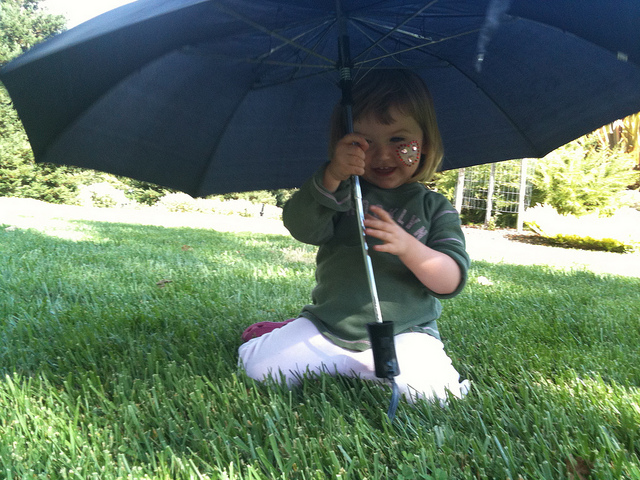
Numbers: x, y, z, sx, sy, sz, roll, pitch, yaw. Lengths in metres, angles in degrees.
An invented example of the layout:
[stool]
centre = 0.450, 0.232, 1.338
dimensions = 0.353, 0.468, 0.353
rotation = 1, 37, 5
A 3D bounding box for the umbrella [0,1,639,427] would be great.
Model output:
[umbrella]
centre = 0.038, -0.258, 2.326
dimensions = 2.195, 1.472, 1.903
rotation = 0, -30, 1
